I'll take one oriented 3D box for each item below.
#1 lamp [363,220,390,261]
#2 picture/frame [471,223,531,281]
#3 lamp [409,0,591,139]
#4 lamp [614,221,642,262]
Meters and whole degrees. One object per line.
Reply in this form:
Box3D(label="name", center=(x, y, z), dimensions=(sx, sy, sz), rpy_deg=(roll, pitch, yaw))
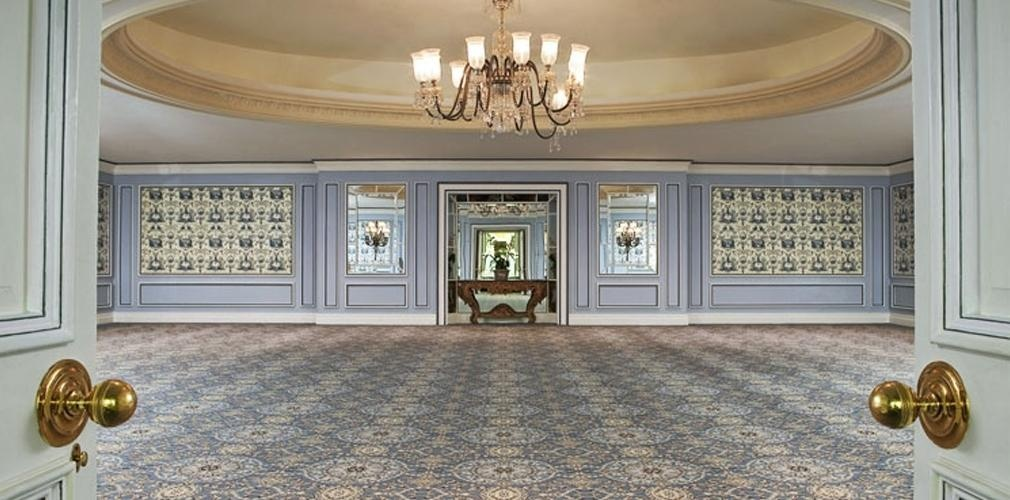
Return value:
Box3D(label="lamp", center=(-2.231, -0.165, 10.600), dimensions=(0.420, 0.540, 0.402), rpy_deg=(12, -19, -43))
Box3D(label="picture/frame", center=(-0.098, -0.031, 14.729), dimensions=(1.607, 1.421, 0.125), rpy_deg=(0, 1, -1))
Box3D(label="lamp", center=(0.109, -1.740, 6.493), dimensions=(1.991, 1.416, 1.854), rpy_deg=(6, 10, 40))
Box3D(label="lamp", center=(2.146, -0.162, 10.672), dimensions=(0.390, 0.518, 0.352), rpy_deg=(-4, -14, 32))
